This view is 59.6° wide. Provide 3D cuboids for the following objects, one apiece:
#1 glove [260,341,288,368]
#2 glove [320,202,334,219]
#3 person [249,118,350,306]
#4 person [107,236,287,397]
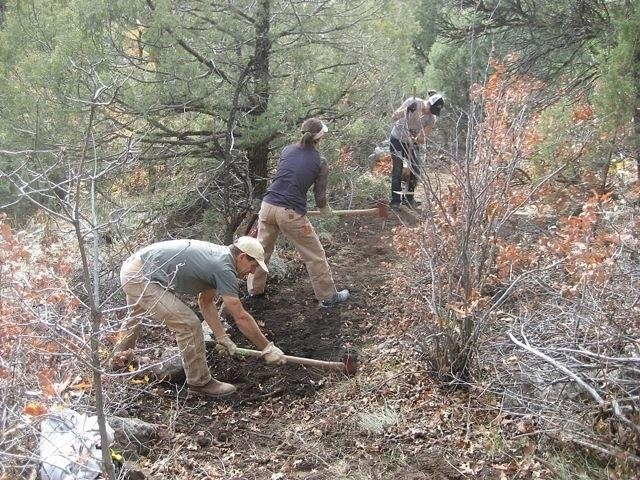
[{"bbox_3d":[-0.468,1.135,5.495,0.271,0.207,0.119,37,-6,-10],"label":"glove"},{"bbox_3d":[0.072,-0.349,6.594,0.150,0.177,0.174,0,-5,8],"label":"glove"},{"bbox_3d":[-0.348,-0.281,6.655,1.173,2.025,0.825,-2,3,-42],"label":"person"},{"bbox_3d":[-1.168,0.805,5.434,1.542,1.628,0.624,-6,11,-4],"label":"person"}]
